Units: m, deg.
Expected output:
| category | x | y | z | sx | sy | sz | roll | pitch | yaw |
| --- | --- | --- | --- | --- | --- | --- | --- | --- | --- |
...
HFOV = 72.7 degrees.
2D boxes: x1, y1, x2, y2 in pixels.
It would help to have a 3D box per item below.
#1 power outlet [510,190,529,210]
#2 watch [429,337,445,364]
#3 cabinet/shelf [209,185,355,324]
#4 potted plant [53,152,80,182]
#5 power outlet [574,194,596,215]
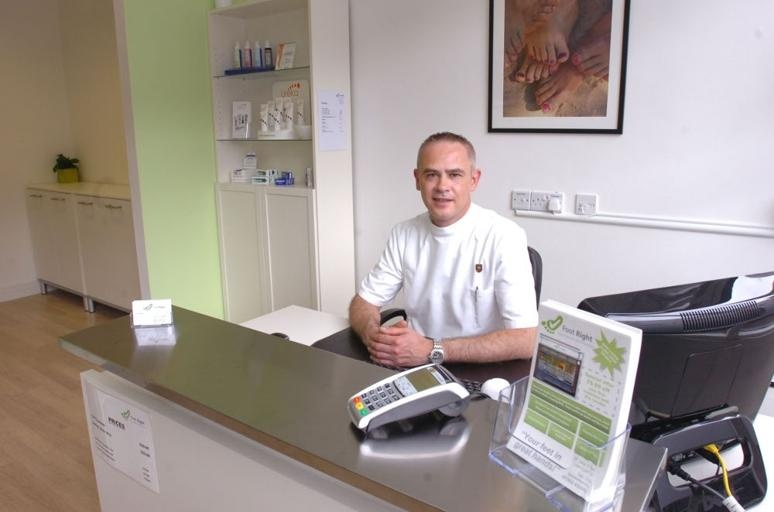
| category | x | y | z | sx | sy | sz | roll | pitch | yaw |
| --- | --- | --- | --- | --- | --- | --- | --- | --- | --- |
| power outlet | 0.879 | -0.373 | 3.463 | 0.102 | 0.108 | 0.057 | 11 | 18 | 38 |
| watch | 0.205 | 0.399 | 2.170 | 0.057 | 0.095 | 0.088 | -1 | 3 | -12 |
| cabinet/shelf | -0.770 | -0.055 | 4.024 | 0.940 | 1.172 | 0.365 | 8 | 13 | 29 |
| potted plant | -3.232 | -0.863 | 5.332 | 0.281 | 0.283 | 0.286 | 2 | -1 | 31 |
| power outlet | 1.236 | -0.315 | 3.257 | 0.147 | 0.152 | 0.111 | 4 | 11 | 38 |
